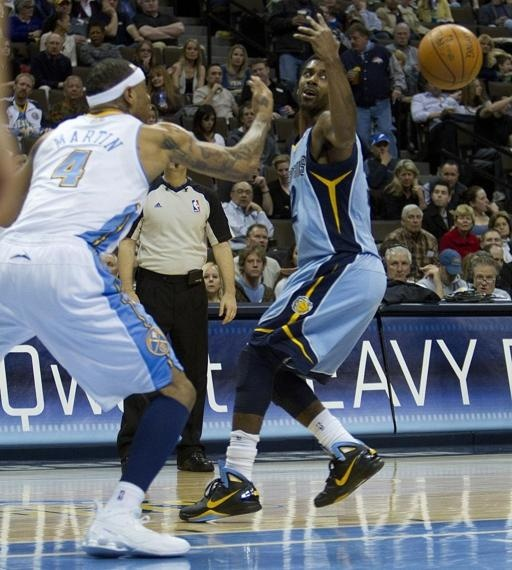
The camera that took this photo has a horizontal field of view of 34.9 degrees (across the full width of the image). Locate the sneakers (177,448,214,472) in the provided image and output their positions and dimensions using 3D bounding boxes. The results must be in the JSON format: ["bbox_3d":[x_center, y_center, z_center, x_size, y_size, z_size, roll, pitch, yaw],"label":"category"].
[{"bbox_3d":[-0.412,1.142,5.271,0.111,0.109,0.314,4,-10,-43],"label":"sneakers"}]

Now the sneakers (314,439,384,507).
[{"bbox_3d":[0.383,0.800,3.450,0.284,0.263,0.130,1,3,2],"label":"sneakers"}]

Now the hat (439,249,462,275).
[{"bbox_3d":[1.750,-0.212,7.419,0.197,0.125,0.251,-7,27,-13],"label":"hat"}]

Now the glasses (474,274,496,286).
[{"bbox_3d":[1.996,-0.034,7.176,0.119,0.046,0.132,2,-34,11],"label":"glasses"}]

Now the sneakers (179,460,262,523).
[{"bbox_3d":[-0.152,0.852,3.316,0.380,0.198,0.128,-16,-20,24],"label":"sneakers"}]

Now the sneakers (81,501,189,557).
[{"bbox_3d":[-0.392,0.800,2.649,0.385,0.149,0.136,19,-15,-30],"label":"sneakers"}]
